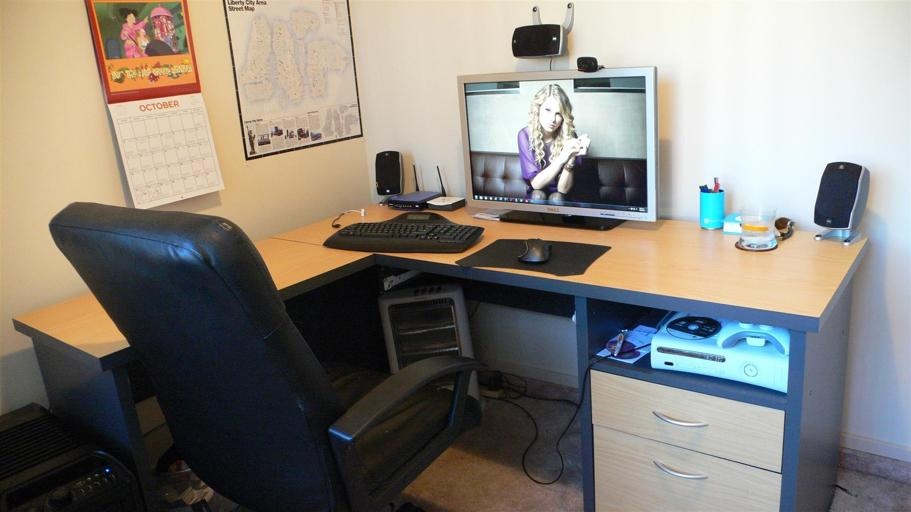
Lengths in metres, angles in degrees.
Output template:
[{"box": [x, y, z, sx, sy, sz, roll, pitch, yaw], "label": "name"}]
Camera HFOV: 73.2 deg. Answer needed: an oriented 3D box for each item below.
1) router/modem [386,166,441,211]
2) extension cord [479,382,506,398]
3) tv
[{"box": [-0.236, -0.347, 3.463, 0.161, 0.116, 0.208, 5, 19, 20], "label": "router/modem"}, {"box": [0.220, 0.737, 3.474, 0.075, 0.027, 0.133, -2, 6, -25], "label": "extension cord"}, {"box": [0.528, -0.532, 2.959, 0.934, 0.567, 0.259, 3, 17, 25], "label": "tv"}]
